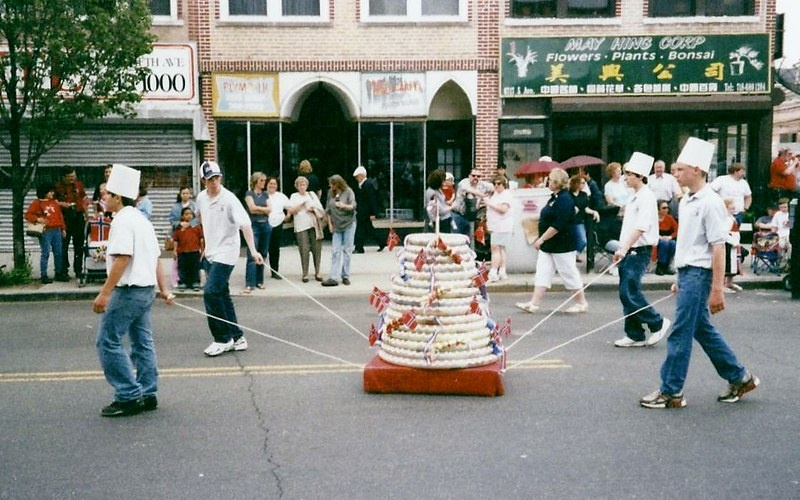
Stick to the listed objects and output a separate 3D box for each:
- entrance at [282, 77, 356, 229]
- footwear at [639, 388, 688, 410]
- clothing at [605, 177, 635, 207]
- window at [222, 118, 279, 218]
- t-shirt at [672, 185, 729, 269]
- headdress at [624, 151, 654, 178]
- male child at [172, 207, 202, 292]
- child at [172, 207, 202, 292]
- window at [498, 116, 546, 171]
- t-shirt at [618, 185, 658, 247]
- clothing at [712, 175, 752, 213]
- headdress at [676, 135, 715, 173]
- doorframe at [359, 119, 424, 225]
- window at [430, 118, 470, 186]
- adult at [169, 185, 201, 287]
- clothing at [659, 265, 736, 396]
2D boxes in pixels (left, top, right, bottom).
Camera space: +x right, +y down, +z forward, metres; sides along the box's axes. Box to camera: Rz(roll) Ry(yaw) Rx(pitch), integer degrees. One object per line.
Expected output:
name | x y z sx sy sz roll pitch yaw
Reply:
entrance | -2.308 -3.134 36.447 2.599 0.210 4.993 -2 47 1
footwear | 4.847 2.697 23.527 0.774 0.450 0.352 3 -2 2
clothing | 5.286 -1.421 30.459 0.665 0.724 0.409 -9 1 -5
window | -4.253 -2.507 35.640 1.786 2.744 0.113 -2 33 -9
t-shirt | 5.517 -0.495 23.639 0.780 1.675 1.231 -3 14 -28
headdress | 4.807 -1.722 25.520 0.455 0.401 0.490 16 8 3
male child | -5.017 -0.010 30.153 0.687 2.126 0.503 -4 -20 -4
child | -5.047 -0.021 30.151 0.662 2.153 0.501 -1 -20 -11
window | 3.456 -2.828 36.038 1.363 1.817 0.160 -1 27 2
t-shirt | 4.926 -0.543 25.648 0.469 0.963 0.969 -2 0 5
clothing | 7.731 -1.342 29.640 0.977 0.895 0.569 0 -2 -12
headdress | 5.538 -1.805 23.743 0.640 0.679 0.637 19 5 -5
doorframe | -0.271 -2.272 36.256 1.870 3.600 0.389 -2 36 -3
window | 1.515 -2.514 36.392 0.986 2.117 0.158 -2 -26 0
adult | -5.223 -0.680 30.819 0.553 1.753 0.543 4 26 4
clothing | 5.465 1.432 23.445 1.453 2.307 0.447 -4 9 -7
